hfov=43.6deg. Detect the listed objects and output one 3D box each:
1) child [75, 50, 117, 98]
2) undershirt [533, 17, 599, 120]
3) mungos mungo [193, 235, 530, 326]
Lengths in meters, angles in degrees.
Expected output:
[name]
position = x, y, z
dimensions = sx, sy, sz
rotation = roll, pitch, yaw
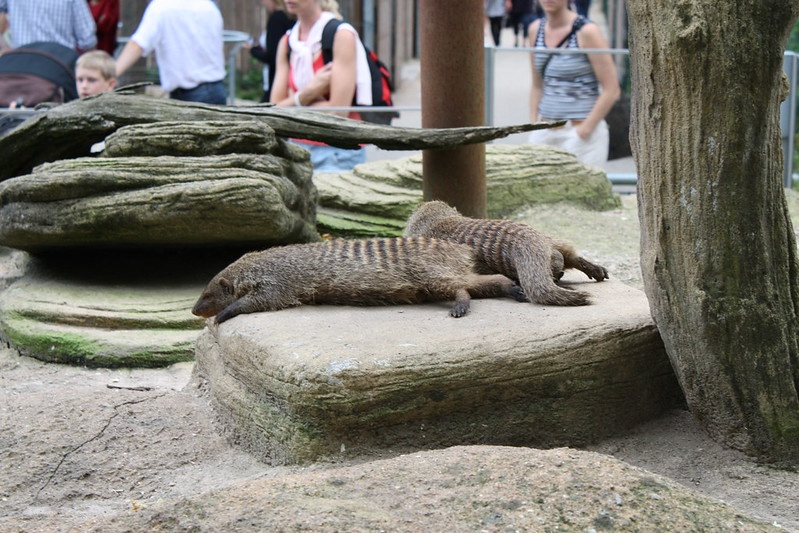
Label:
[child]
position = -2.989, -1.815, 9.746
dimensions = 0.421, 0.491, 0.398
rotation = 2, 14, -8
[undershirt]
position = 1.833, -2.096, 10.451
dimensions = 0.671, 1.056, 0.732
rotation = -14, 20, -18
[mungos mungo]
position = -0.276, 0.073, 6.676
dimensions = 2.147, 0.430, 0.691
rotation = -4, 6, -4
